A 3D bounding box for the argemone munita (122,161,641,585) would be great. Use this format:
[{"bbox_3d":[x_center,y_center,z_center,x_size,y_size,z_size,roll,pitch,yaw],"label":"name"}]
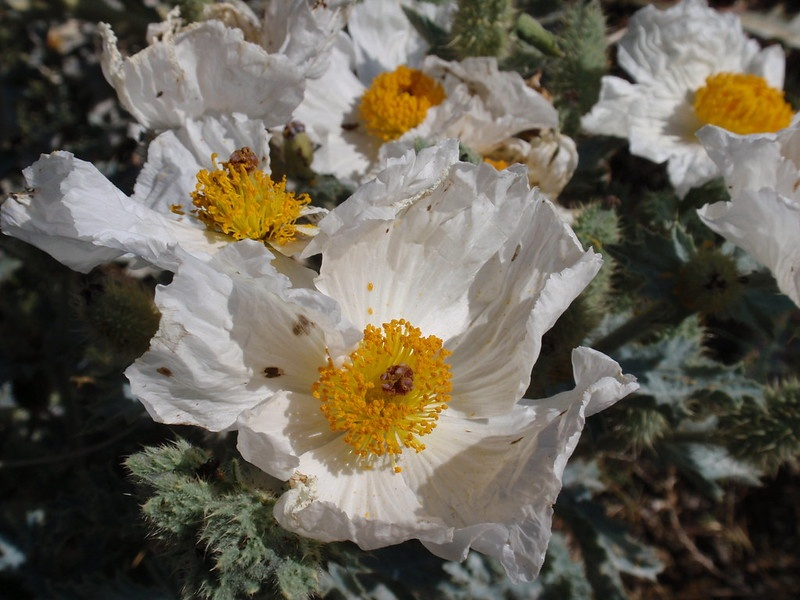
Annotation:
[{"bbox_3d":[-0.009,0.241,2.054,1.006,0.455,1.105,22,67,-21],"label":"argemone munita"}]
